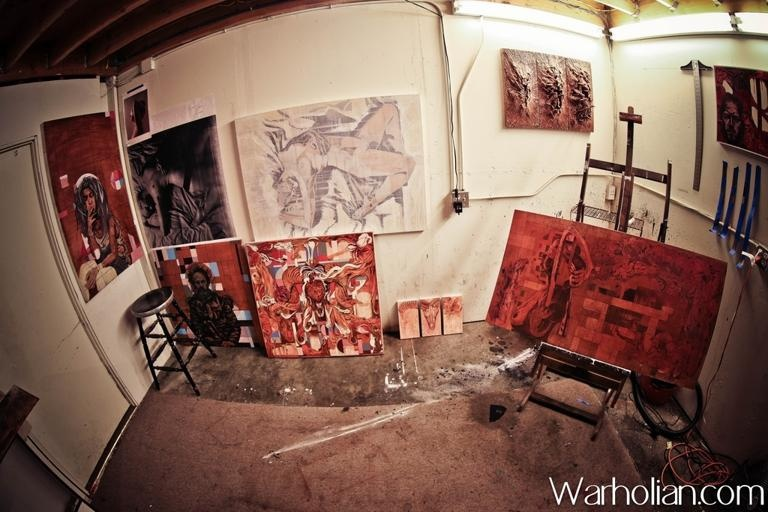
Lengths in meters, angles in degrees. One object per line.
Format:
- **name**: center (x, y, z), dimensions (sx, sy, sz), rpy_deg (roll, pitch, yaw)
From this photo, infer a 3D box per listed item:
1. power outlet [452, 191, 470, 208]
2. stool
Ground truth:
- **power outlet**: center (0.910, -0.665, 5.564), dimensions (0.272, 0.270, 0.158), rpy_deg (-1, 2, 1)
- **stool**: center (-2.598, 1.083, 5.519), dimensions (0.691, 1.037, 0.721), rpy_deg (-7, 11, 21)
